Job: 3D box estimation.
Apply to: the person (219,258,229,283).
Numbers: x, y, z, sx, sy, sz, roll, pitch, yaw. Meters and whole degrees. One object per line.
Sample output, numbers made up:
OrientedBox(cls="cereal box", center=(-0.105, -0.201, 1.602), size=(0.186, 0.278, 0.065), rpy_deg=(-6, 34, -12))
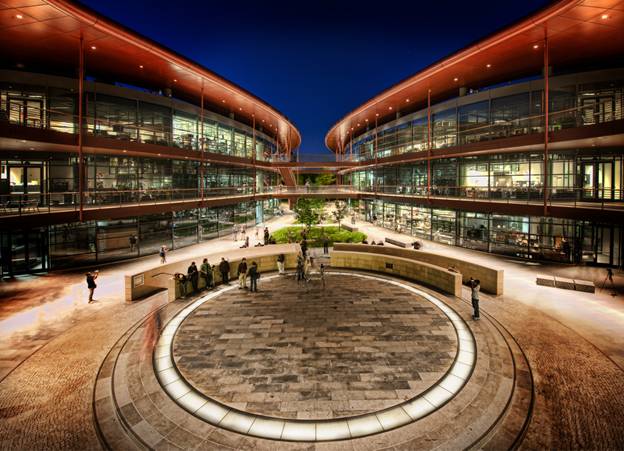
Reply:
OrientedBox(cls="person", center=(-5.257, 2.729, 21.770), size=(0.654, 1.501, 0.901), rpy_deg=(-3, 3, -14))

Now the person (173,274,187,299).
OrientedBox(cls="person", center=(-7.083, 3.253, 19.504), size=(0.650, 1.297, 0.471), rpy_deg=(-4, 3, -20))
